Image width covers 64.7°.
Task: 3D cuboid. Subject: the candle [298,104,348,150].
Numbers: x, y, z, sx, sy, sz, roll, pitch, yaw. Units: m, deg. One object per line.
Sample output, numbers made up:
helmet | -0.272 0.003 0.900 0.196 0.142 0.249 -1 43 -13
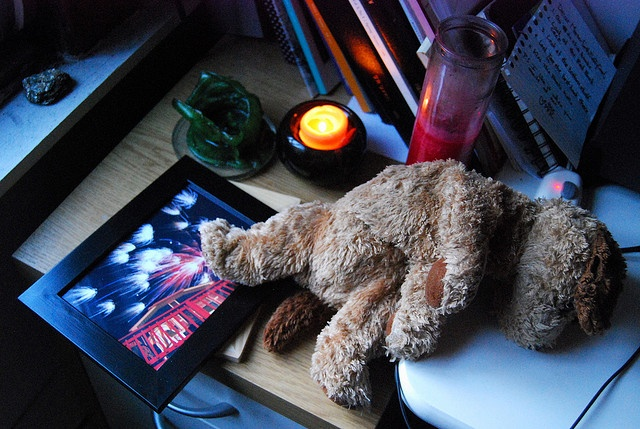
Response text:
candle | 0.005 -0.144 0.834 0.083 0.016 0.087 4 66 1

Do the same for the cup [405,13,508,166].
cup | 0.203 -0.173 0.781 0.101 0.207 0.140 14 66 7

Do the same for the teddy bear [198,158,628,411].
teddy bear | 0.114 0.086 0.700 0.555 0.240 0.339 2 48 6
